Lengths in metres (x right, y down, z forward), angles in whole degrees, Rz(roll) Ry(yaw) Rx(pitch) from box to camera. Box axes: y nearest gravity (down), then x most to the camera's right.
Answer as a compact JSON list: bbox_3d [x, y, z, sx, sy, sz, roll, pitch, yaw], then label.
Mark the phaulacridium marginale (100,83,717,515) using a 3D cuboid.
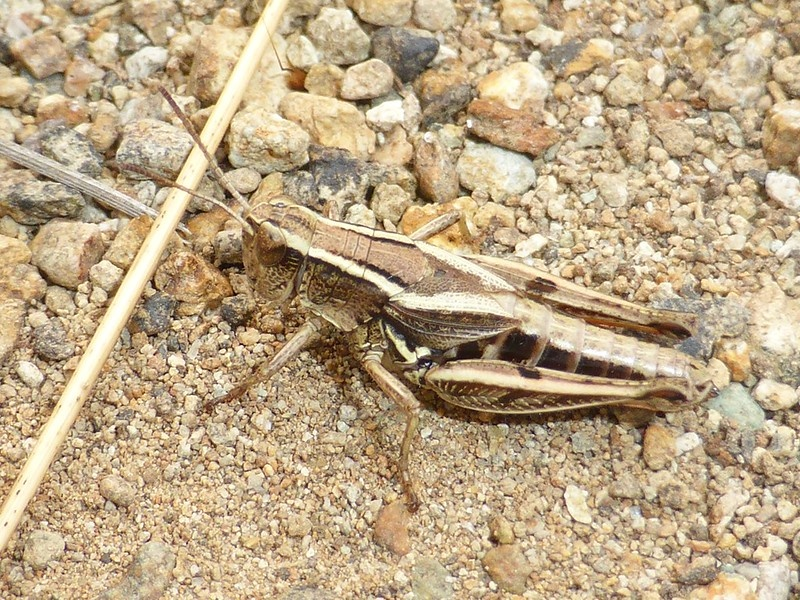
[{"bbox_3d":[0.078,0.027,3.303,2.099,1.087,0.697,18,-62,0],"label":"phaulacridium marginale"}]
